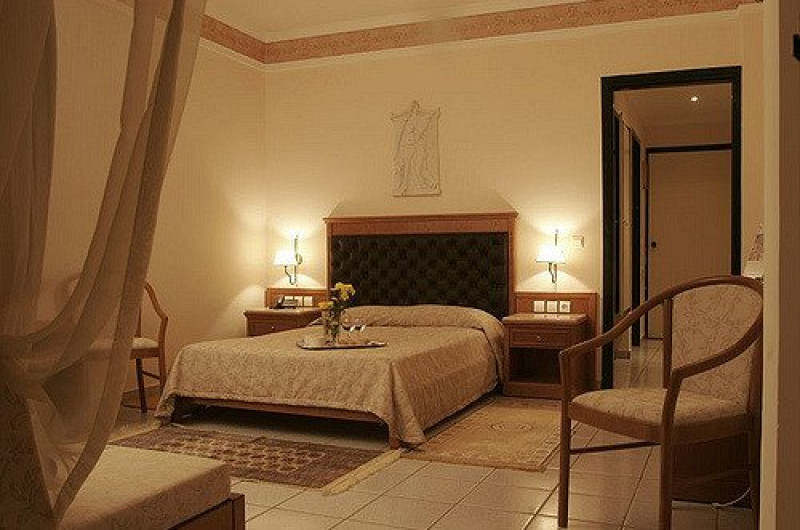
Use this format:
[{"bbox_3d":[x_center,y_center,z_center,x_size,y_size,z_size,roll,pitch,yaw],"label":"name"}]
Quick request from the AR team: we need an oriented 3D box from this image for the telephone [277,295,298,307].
[{"bbox_3d":[-1.240,0.400,6.590,0.187,0.097,0.128,-2,7,17],"label":"telephone"}]

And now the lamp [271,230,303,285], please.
[{"bbox_3d":[-1.243,-0.052,6.613,0.268,0.535,0.255,-5,3,-43],"label":"lamp"}]

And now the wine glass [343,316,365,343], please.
[{"bbox_3d":[-0.379,0.525,4.796,0.115,0.307,0.208,-1,-1,21],"label":"wine glass"}]

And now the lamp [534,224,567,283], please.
[{"bbox_3d":[1.435,-0.078,5.624,0.256,0.550,0.301,0,2,13],"label":"lamp"}]

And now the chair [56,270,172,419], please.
[{"bbox_3d":[-2.348,0.628,4.962,0.705,1.179,0.542,1,-2,-38],"label":"chair"}]

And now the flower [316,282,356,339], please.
[{"bbox_3d":[-0.534,0.405,4.798,0.279,0.468,0.308,0,26,-2],"label":"flower"}]

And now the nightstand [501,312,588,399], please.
[{"bbox_3d":[1.433,0.781,5.652,0.777,0.806,0.564,2,17,38],"label":"nightstand"}]

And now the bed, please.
[{"bbox_3d":[-0.333,0.369,5.505,2.237,1.939,2.898,-2,-2,26],"label":"bed"}]
